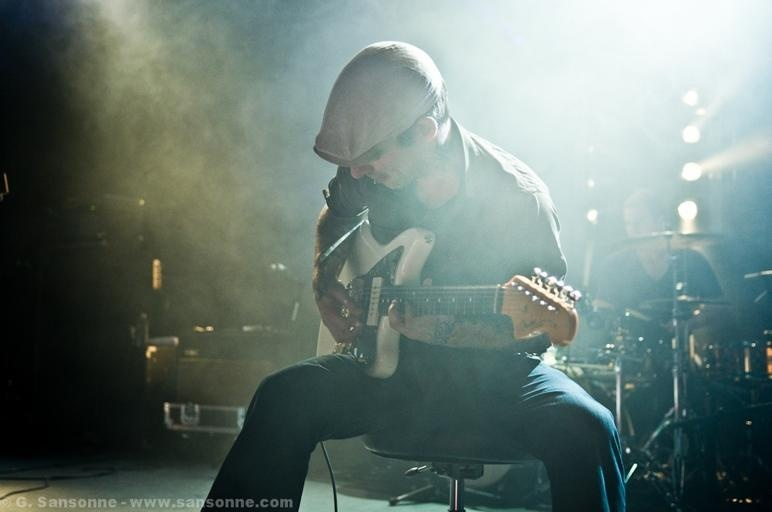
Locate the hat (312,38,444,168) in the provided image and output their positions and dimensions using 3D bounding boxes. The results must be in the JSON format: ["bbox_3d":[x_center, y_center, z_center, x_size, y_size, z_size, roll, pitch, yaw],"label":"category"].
[{"bbox_3d":[-0.065,-1.130,5.506,0.975,0.554,0.669,-33,41,-26],"label":"hat"}]
